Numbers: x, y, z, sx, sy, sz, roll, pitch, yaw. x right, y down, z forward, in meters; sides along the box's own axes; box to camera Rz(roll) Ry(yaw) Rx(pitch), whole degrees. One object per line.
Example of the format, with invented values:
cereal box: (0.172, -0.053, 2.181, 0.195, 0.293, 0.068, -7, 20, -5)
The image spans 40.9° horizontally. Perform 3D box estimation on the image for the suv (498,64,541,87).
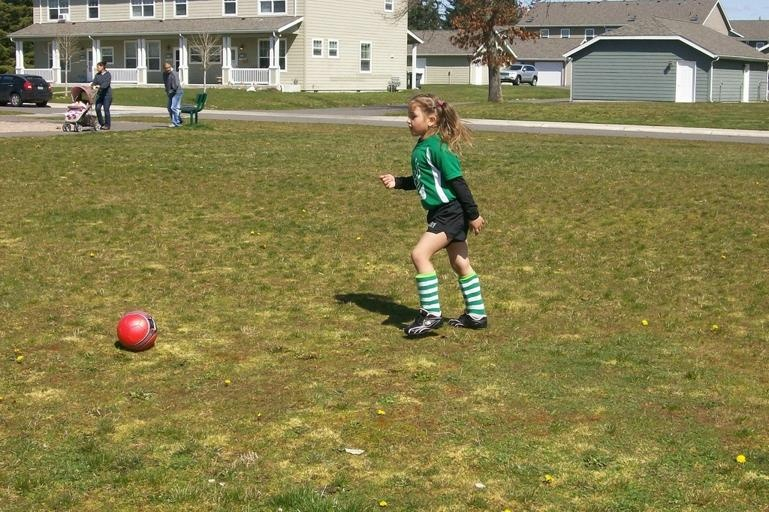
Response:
suv: (10.500, -14.460, 80.663, 2.304, 1.757, 5.107, 4, 9, 15)

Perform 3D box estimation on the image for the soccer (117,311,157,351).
soccer: (-2.819, 0.847, 11.850, 0.443, 0.436, 0.347, -1, 10, -14)

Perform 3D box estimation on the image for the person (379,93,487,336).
person: (0.646, -0.496, 12.337, 1.125, 2.884, 0.585, 2, 10, 0)

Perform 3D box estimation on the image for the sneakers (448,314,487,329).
sneakers: (1.033, 0.775, 12.657, 0.512, 0.191, 0.173, 4, -1, 8)

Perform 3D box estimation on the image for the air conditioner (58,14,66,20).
air conditioner: (-19.125, -14.467, 61.622, 0.407, 0.334, 0.228, 0, 9, 1)
